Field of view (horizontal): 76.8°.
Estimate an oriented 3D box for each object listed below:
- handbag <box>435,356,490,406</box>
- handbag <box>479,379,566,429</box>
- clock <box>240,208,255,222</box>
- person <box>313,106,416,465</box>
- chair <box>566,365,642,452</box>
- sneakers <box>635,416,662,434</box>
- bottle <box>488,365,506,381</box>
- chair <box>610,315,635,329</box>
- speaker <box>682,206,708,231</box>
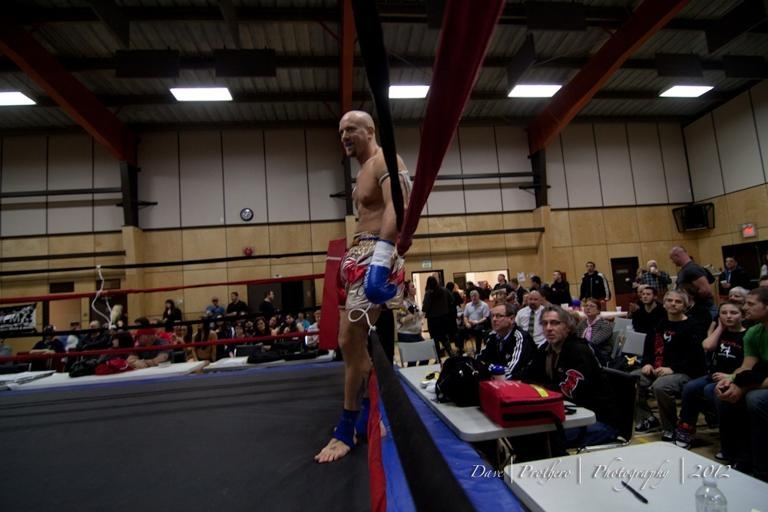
[{"bbox_3d":[0.774,1.249,4.815,0.430,0.429,0.454,-1,-12,6],"label":"handbag"},{"bbox_3d":[1.320,1.433,4.788,0.617,0.338,0.854,-1,1,-10],"label":"handbag"},{"bbox_3d":[-3.270,-0.957,11.514,0.298,0.326,0.044,2,-13,-17],"label":"clock"},{"bbox_3d":[-0.174,0.206,4.316,0.571,3.139,0.837,3,-6,-40],"label":"person"},{"bbox_3d":[2.201,1.593,5.123,0.623,0.796,0.784,-2,-7,2],"label":"chair"},{"bbox_3d":[3.145,2.009,5.759,0.368,0.172,0.134,1,-7,-12],"label":"sneakers"},{"bbox_3d":[1.183,1.225,5.072,0.116,0.120,0.122,2,-10,-29],"label":"bottle"},{"bbox_3d":[3.606,0.998,7.286,0.169,0.185,0.185,4,-5,10],"label":"chair"},{"bbox_3d":[8.028,-1.000,12.430,0.557,0.627,0.222,-4,-6,34],"label":"speaker"}]
